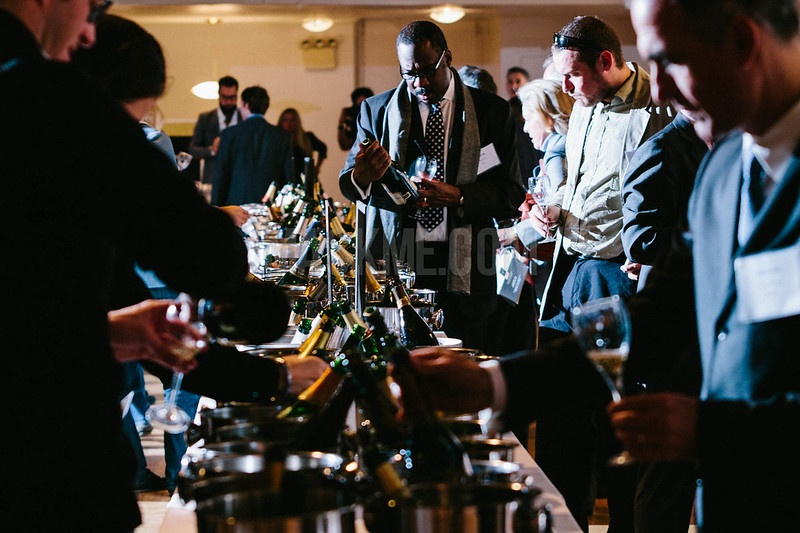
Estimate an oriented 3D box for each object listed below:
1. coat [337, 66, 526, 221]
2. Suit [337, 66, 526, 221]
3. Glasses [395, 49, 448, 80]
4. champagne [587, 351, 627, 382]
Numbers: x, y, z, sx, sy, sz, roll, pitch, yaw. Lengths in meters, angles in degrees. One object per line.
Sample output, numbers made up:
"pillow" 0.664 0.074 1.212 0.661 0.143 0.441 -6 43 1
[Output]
"coat" 0.149 -0.481 3.972 1.119 0.945 0.623 0 -2 -3
"Suit" 0.172 -0.444 3.965 1.119 0.945 0.623 0 -2 -3
"Glasses" 0.110 -0.881 3.616 0.200 0.141 0.190 -3 6 0
"champagne" 0.403 0.201 1.609 0.054 0.084 0.061 -6 -10 -5
